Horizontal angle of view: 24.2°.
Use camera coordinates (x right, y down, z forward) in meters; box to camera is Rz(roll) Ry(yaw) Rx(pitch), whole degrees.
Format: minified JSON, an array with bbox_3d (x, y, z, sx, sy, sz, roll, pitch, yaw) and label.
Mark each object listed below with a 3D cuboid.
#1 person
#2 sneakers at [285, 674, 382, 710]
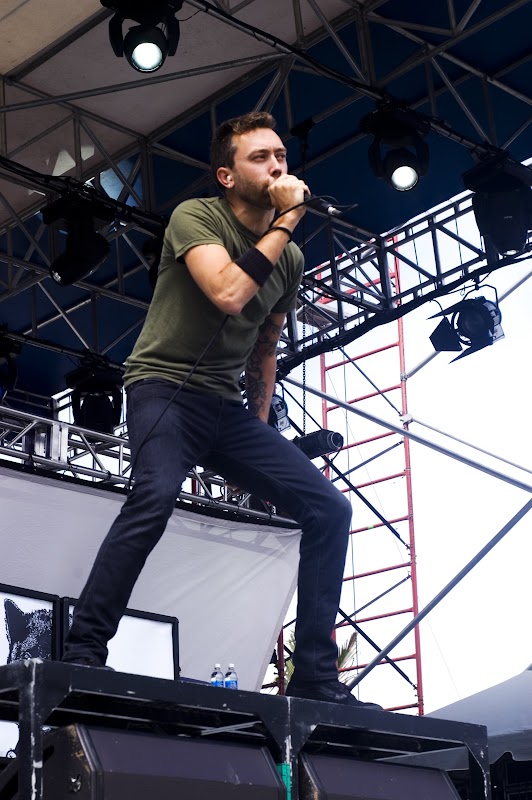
[{"bbox_3d":[-0.105,-0.016,3.229,0.583,1.583,0.886,-11,-23,31],"label":"person"},{"bbox_3d":[0.151,0.738,3.109,0.269,0.105,0.086,6,-16,1],"label":"sneakers"}]
